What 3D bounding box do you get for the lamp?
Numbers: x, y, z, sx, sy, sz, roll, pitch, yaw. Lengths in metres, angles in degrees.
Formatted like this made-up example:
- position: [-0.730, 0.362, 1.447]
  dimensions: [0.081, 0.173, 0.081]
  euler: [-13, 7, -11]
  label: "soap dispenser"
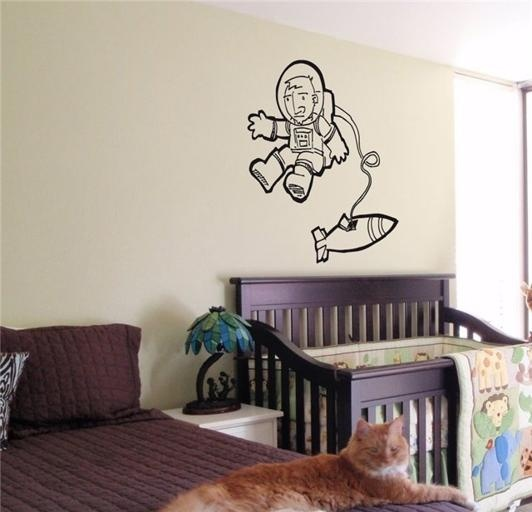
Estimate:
- position: [-0.250, 0.418, 2.523]
  dimensions: [0.330, 0.622, 0.371]
  euler: [-1, 1, -17]
  label: "lamp"
